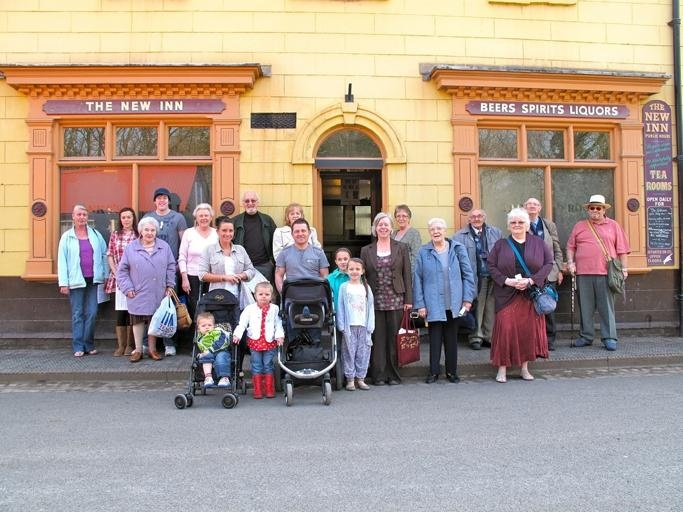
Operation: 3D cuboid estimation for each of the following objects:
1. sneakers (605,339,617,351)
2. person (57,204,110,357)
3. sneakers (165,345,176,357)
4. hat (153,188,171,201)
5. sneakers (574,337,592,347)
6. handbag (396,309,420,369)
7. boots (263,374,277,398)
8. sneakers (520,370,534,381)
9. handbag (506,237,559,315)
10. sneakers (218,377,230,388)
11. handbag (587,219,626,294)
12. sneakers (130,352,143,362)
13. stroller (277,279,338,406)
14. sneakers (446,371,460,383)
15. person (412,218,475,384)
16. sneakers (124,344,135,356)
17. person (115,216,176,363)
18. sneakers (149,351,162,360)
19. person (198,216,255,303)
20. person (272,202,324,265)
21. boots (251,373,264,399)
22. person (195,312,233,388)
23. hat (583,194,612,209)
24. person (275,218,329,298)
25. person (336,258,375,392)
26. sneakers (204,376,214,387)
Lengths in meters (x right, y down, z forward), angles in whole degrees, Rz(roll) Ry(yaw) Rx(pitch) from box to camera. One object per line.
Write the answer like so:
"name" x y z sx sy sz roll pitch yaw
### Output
"sneakers" 4.414 1.427 14.523 0.201 0.175 0.418 -2 -3 17
"person" -4.249 0.388 14.475 0.780 2.429 0.401 0 -3 -18
"sneakers" -2.799 1.523 14.379 0.125 0.137 0.307 1 -7 -6
"hat" -2.980 -1.041 14.581 0.219 0.202 0.228 -1 -3 -2
"sneakers" 4.039 1.436 14.841 0.337 0.146 0.129 -3 18 -5
"handbag" 0.966 1.193 13.142 0.366 0.787 0.181 0 -3 -22
"boots" -1.028 1.813 12.505 0.133 0.329 0.096 -1 -3 -12
"sneakers" 2.764 1.767 13.211 0.084 0.107 0.260 -1 -6 -14
"handbag" 2.808 0.273 13.113 0.653 1.153 0.320 -2 -3 3
"sneakers" -1.634 1.714 12.183 0.156 0.131 0.177 -1 -3 -8
"handbag" 4.475 -0.002 14.924 0.448 1.290 0.406 -8 -3 12
"sneakers" -3.247 1.571 13.922 0.100 0.119 0.287 0 -8 -4
"stroller" -0.491 1.170 12.492 0.830 1.733 0.877 -1 -3 -1
"sneakers" 1.653 1.783 13.191 0.092 0.108 0.260 -3 -3 -14
"person" 1.531 0.782 13.233 0.906 2.151 0.283 -2 -3 8
"sneakers" -3.426 1.511 14.359 0.212 0.162 0.073 -2 -8 10
"person" -3.088 0.501 13.926 0.902 2.256 0.562 -1 -3 -10
"sneakers" -2.964 1.570 14.045 0.088 0.095 0.227 -1 -1 -42
"person" -1.768 0.449 13.338 0.834 1.965 0.684 -5 17 -27
"person" -0.727 -0.318 14.087 0.759 1.142 0.625 0 -20 -15
"boots" -1.190 1.815 12.501 0.140 0.337 0.143 -1 -3 -12
"person" -1.801 1.280 12.360 0.483 1.025 0.523 -1 -3 -7
"hat" 4.354 -0.916 14.993 0.346 0.139 0.396 1 -7 24
"person" -0.609 0.027 13.241 0.817 1.156 0.624 0 -4 -10
"person" 0.191 0.979 12.936 0.556 1.898 0.308 -1 -3 1
"sneakers" -1.837 1.696 12.149 0.127 0.131 0.242 -1 -3 -9
